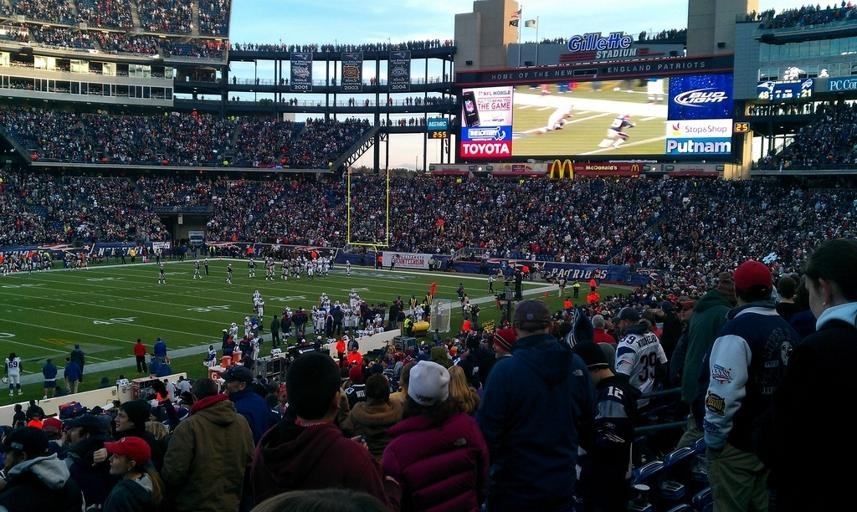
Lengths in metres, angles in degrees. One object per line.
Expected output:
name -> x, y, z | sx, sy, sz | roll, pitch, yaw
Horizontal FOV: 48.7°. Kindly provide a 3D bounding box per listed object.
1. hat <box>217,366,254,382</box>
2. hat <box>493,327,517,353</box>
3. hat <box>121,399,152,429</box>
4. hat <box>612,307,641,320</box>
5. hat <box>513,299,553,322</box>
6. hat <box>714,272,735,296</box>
hat -> -7.365, 4.524, 36.463 | 0.870, 0.334, 0.598 | 5, 2, -3
hat -> 2.920, 3.121, 35.891 | 0.746, 0.823, 0.974 | 32, 9, 10
hat -> -10.867, 5.874, 35.766 | 0.915, 1.100, 0.846 | -22, 3, 6
hat -> 8.152, 2.347, 37.884 | 0.763, 0.532, 1.188 | 9, -7, -29
hat -> 3.776, 2.017, 34.917 | 1.344, 0.822, 0.374 | -3, 0, 7
hat -> 11.533, 1.092, 36.835 | 0.834, 0.961, 0.572 | 6, -6, 43
